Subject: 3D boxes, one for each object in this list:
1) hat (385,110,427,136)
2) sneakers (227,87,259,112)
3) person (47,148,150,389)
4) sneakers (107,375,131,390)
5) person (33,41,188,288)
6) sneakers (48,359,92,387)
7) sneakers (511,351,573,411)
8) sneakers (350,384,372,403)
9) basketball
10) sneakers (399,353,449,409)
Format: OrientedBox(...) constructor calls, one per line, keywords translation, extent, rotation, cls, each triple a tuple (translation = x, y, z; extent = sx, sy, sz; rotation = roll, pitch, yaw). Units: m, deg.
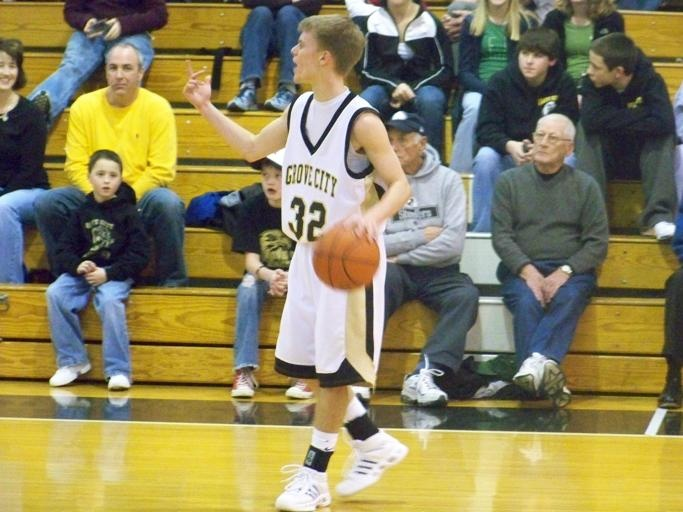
OrientedBox(translation=(0.396, -0.808, 5.944), extent=(0.196, 0.074, 0.132), rotation=(6, 0, -39), cls="hat")
OrientedBox(translation=(-0.675, -1.096, 6.898), extent=(0.120, 0.149, 0.267), rotation=(4, 2, 36), cls="sneakers")
OrientedBox(translation=(-1.458, 0.065, 5.926), extent=(0.573, 1.389, 0.584), rotation=(4, 8, -3), cls="person")
OrientedBox(translation=(-1.295, 0.736, 5.800), extent=(0.150, 0.092, 0.129), rotation=(0, 8, -26), cls="sneakers")
OrientedBox(translation=(-1.359, -0.562, 6.309), extent=(0.992, 1.421, 0.943), rotation=(6, 17, 17), cls="person")
OrientedBox(translation=(-1.617, 0.703, 5.918), extent=(0.100, 0.122, 0.281), rotation=(13, 20, 43), cls="sneakers")
OrientedBox(translation=(1.142, 0.706, 5.531), extent=(0.369, 0.208, 0.173), rotation=(39, 30, -15), cls="sneakers")
OrientedBox(translation=(0.123, 0.774, 5.626), extent=(0.073, 0.084, 0.204), rotation=(2, -32, 13), cls="sneakers")
OrientedBox(translation=(0.069, 0.008, 4.341), extent=(0.316, 0.327, 0.293), rotation=(8, 3, -3), cls="basketball")
OrientedBox(translation=(0.489, 0.730, 5.646), extent=(0.148, 0.253, 0.396), rotation=(5, -4, -27), cls="sneakers")
